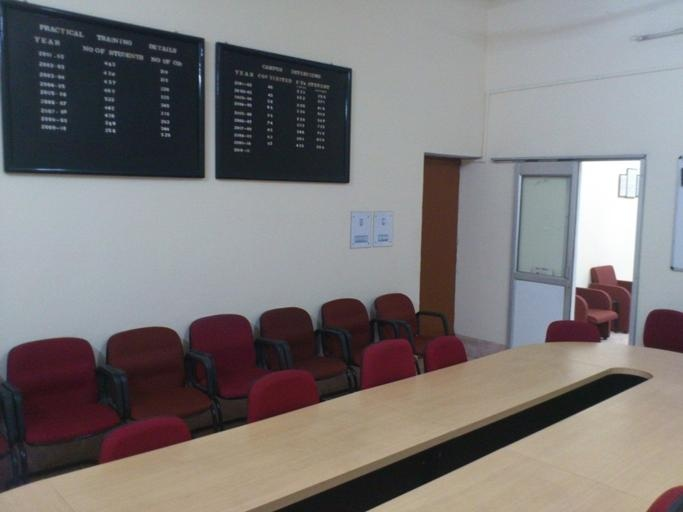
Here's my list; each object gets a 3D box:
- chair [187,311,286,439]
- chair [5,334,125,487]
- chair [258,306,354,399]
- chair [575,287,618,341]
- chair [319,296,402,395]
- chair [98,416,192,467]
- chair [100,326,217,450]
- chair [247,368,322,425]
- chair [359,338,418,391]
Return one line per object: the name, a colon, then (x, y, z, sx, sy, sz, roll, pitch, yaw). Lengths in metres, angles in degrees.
chair: (-0.829, 0.997, 4.107, 0.607, 1.037, 0.742, 0, 5, 40)
chair: (-1.891, 0.950, 3.680, 0.855, 1.277, 0.856, -2, 1, -38)
chair: (-0.314, 0.880, 4.413, 0.644, 0.888, 0.673, -7, -1, -41)
chair: (3.219, 0.786, 6.677, 0.544, 0.669, 0.637, -4, 6, 7)
chair: (0.181, 0.849, 4.758, 0.618, 0.900, 0.671, -6, 0, -33)
chair: (-0.958, 0.896, 2.521, 0.423, 0.148, 0.106, -7, 11, -33)
chair: (-1.278, 0.882, 3.963, 0.721, 1.031, 0.777, -3, 4, -35)
chair: (-0.346, 0.771, 3.047, 0.289, 0.492, 0.287, -1, -1, -29)
chair: (0.317, 0.696, 3.579, 0.317, 0.576, 0.322, -3, 0, -28)
